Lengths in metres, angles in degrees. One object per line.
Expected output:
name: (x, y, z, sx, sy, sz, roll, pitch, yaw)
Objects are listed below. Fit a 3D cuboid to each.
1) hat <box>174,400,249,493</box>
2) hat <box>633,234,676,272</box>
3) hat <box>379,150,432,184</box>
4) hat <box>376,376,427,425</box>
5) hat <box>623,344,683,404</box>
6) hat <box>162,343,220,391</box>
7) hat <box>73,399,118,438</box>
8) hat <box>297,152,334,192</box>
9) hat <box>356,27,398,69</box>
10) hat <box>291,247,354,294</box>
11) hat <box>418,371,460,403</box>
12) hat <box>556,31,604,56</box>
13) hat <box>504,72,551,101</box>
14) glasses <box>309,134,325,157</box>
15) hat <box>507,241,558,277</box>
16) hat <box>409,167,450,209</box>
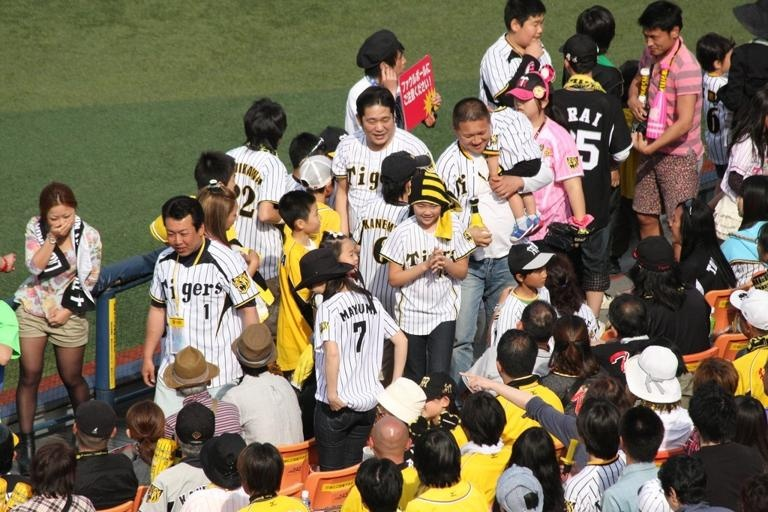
hat: (-1.377, 1.508, 7.863, 0.338, 0.709, 0.621, -7, 0, -33)
hat: (2.554, -0.016, 9.290, 0.358, 0.325, 0.247, -6, 0, 15)
hat: (0.186, -0.908, 9.428, 0.506, 0.198, 0.342, -19, 39, -2)
hat: (0.156, 1.228, 8.340, 0.301, 0.165, 0.428, 37, 32, 7)
hat: (2.261, 0.936, 8.187, 0.474, 0.278, 0.565, 0, 29, -6)
hat: (-1.698, 0.943, 8.594, 0.471, 0.205, 0.566, 0, 29, -2)
hat: (-2.421, 1.360, 8.191, 0.301, 0.365, 0.209, -6, -30, -49)
hat: (-0.688, -0.833, 9.960, 0.292, 0.204, 0.356, -9, 43, 9)
hat: (-0.071, -2.160, 10.622, 0.432, 0.125, 0.409, -30, 41, 12)
hat: (-0.537, 0.098, 8.518, 0.404, 0.168, 0.343, -23, 12, 5)
hat: (0.466, 1.124, 8.529, 0.290, 0.165, 0.198, 11, 7, -4)
hat: (2.101, -2.247, 10.640, 0.344, 0.273, 0.480, -7, 23, -8)
hat: (1.453, -1.703, 9.959, 0.378, 0.211, 0.260, -1, 13, -18)
glasses: (-0.701, -1.145, 10.420, 0.184, 0.056, 0.184, -51, 11, 22)
hat: (1.349, 0.017, 9.110, 0.505, 0.248, 0.379, -22, -1, 29)
hat: (0.443, -0.602, 9.174, 0.359, 0.367, 0.523, 1, -12, 24)
